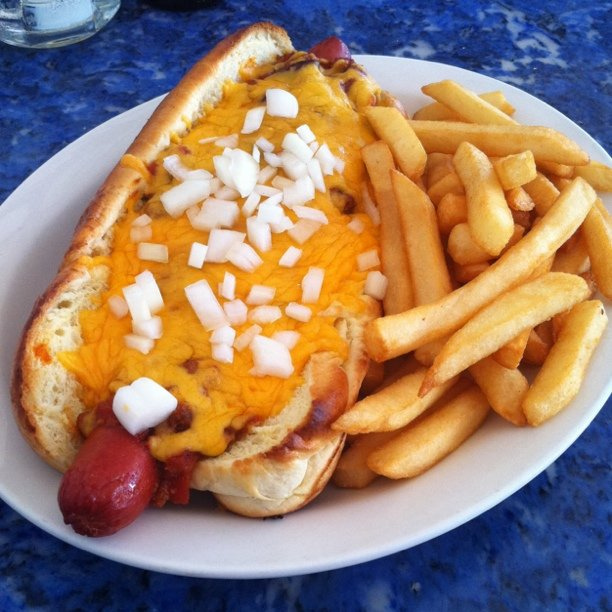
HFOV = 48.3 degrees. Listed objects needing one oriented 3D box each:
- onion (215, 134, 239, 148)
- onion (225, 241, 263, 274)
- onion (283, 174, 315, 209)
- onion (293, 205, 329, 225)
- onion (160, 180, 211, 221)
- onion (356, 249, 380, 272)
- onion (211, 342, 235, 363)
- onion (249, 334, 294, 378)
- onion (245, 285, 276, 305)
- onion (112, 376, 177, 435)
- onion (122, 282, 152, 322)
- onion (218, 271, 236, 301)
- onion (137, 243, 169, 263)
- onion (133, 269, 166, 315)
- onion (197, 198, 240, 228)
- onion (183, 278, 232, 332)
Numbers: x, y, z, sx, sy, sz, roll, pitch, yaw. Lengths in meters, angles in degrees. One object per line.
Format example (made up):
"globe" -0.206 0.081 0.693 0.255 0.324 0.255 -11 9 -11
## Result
"onion" -0.275 -0.584 2.413 0.076 0.054 0.024 2 108 14
"onion" -0.187 -0.150 2.131 0.111 0.049 0.082 48 66 -16
"onion" -0.025 -0.381 2.261 0.127 0.043 0.085 -31 85 -6
"onion" 0.015 -0.295 2.271 0.118 0.026 0.049 15 39 -17
"onion" -0.390 -0.359 2.284 0.173 0.059 0.101 -37 79 -1
"onion" 0.209 -0.153 2.257 0.108 0.024 0.059 -16 102 -22
"onion" -0.239 0.136 1.994 0.062 0.020 0.061 -3 63 -8
"onion" -0.096 0.150 1.982 0.138 0.044 0.121 8 57 -17
"onion" -0.136 -0.036 2.096 0.074 0.028 0.067 13 62 0
"onion" -0.457 0.276 1.918 0.162 0.086 0.140 -31 71 -20
"onion" -0.512 -0.016 2.081 0.064 0.043 0.146 -15 65 -14
"onion" -0.245 -0.062 2.084 0.065 0.024 0.070 0 73 1
"onion" -0.485 -0.172 2.194 0.113 0.041 0.056 13 63 0
"onion" -0.484 -0.044 2.120 0.052 0.121 0.113 -19 91 -16
"onion" -0.278 -0.306 2.211 0.119 0.034 0.094 5 51 5
"onion" -0.298 0.001 2.096 0.117 0.045 0.156 -28 80 -4
